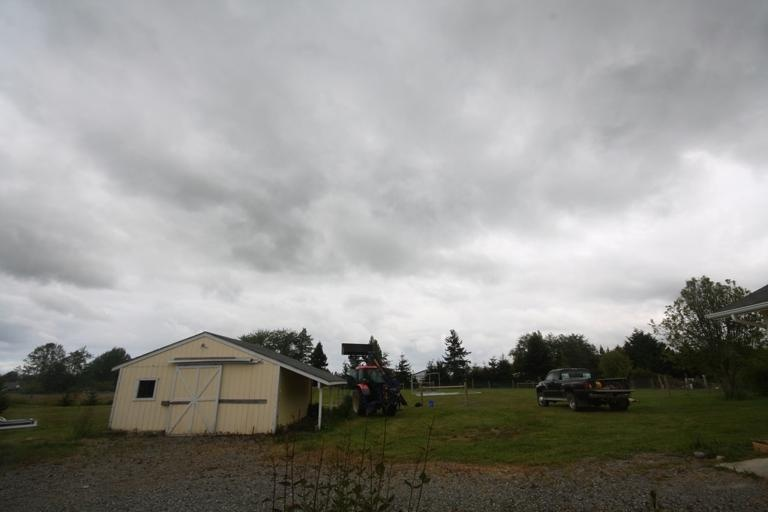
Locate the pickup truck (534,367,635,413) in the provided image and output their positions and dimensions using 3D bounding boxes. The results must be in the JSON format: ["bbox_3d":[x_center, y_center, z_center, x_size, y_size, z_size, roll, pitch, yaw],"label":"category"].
[{"bbox_3d":[9.979,6.710,22.564,2.279,1.597,4.769,2,-15,-5],"label":"pickup truck"}]

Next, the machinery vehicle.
[{"bbox_3d":[-0.805,6.850,24.558,2.267,3.741,5.894,4,-10,-24],"label":"machinery vehicle"}]
